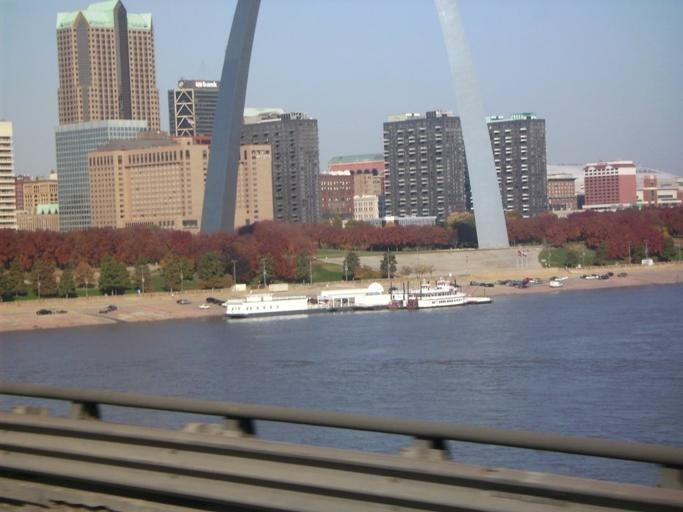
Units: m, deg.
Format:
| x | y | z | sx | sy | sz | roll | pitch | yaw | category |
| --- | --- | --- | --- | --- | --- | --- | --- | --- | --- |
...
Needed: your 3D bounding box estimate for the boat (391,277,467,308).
| x | y | z | sx | sy | sz | roll | pitch | yaw | category |
| --- | --- | --- | --- | --- | --- | --- | --- | --- | --- |
| 5.169 | 2.353 | 93.438 | 2.977 | 1.624 | 3.495 | -6 | 0 | -43 | boat |
